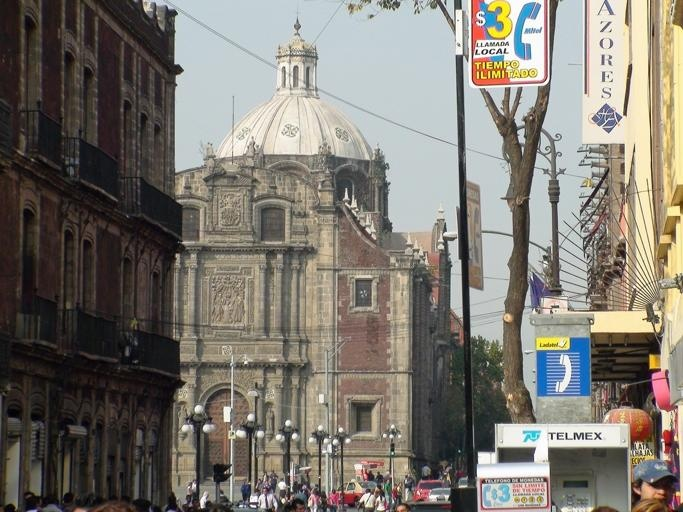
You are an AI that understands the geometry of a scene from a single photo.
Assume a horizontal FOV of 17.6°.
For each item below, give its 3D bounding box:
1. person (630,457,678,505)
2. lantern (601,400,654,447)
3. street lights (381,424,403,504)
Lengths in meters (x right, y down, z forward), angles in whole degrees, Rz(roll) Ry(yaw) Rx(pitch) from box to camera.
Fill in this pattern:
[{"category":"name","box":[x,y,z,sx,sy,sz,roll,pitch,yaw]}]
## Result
[{"category":"person","box":[6.390,4.698,44.707,0.865,1.028,0.602,-6,-16,9]},{"category":"lantern","box":[7.330,4.304,56.037,0.908,1.045,1.651,-10,-18,22]},{"category":"street lights","box":[2.332,9.756,101.894,0.776,3.484,0.566,-5,-8,13]}]
